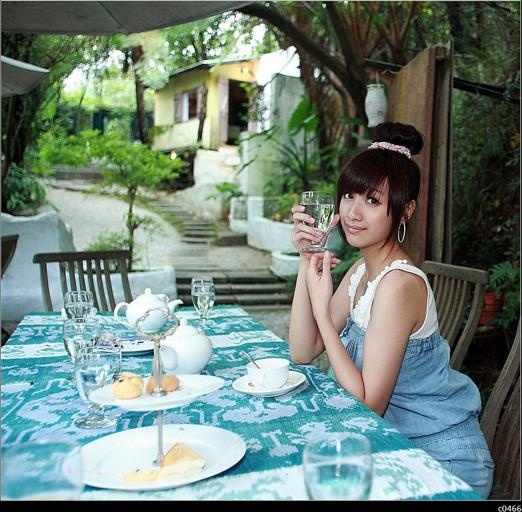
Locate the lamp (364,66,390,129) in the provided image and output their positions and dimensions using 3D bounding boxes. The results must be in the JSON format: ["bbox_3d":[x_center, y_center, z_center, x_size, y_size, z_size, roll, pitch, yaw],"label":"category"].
[{"bbox_3d":[0.927,-1.277,3.601,0.169,0.487,0.173,-2,0,-21],"label":"lamp"}]

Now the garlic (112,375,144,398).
[{"bbox_3d":[-0.219,0.222,0.745,0.036,0.023,0.037,-9,14,-25],"label":"garlic"}]

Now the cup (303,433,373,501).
[{"bbox_3d":[0.083,0.232,0.543,0.079,0.098,0.083,-1,-3,0],"label":"cup"}]

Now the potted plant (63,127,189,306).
[{"bbox_3d":[-1.640,-0.784,5.774,1.129,1.317,1.054,2,4,-9],"label":"potted plant"}]

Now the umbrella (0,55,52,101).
[{"bbox_3d":[-1.772,-1.331,3.296,0.302,0.196,0.624,-6,13,-39],"label":"umbrella"}]

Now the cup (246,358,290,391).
[{"bbox_3d":[0.021,0.309,1.108,0.082,0.054,0.104,-16,-12,31],"label":"cup"}]

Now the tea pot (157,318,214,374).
[{"bbox_3d":[-0.185,0.238,1.110,0.105,0.117,0.161,3,8,9],"label":"tea pot"}]

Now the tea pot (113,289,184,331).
[{"bbox_3d":[-0.426,0.220,1.719,0.253,0.186,0.189,-11,-4,22],"label":"tea pot"}]

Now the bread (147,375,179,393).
[{"bbox_3d":[-0.163,0.223,0.772,0.036,0.021,0.038,-2,-4,30],"label":"bread"}]
